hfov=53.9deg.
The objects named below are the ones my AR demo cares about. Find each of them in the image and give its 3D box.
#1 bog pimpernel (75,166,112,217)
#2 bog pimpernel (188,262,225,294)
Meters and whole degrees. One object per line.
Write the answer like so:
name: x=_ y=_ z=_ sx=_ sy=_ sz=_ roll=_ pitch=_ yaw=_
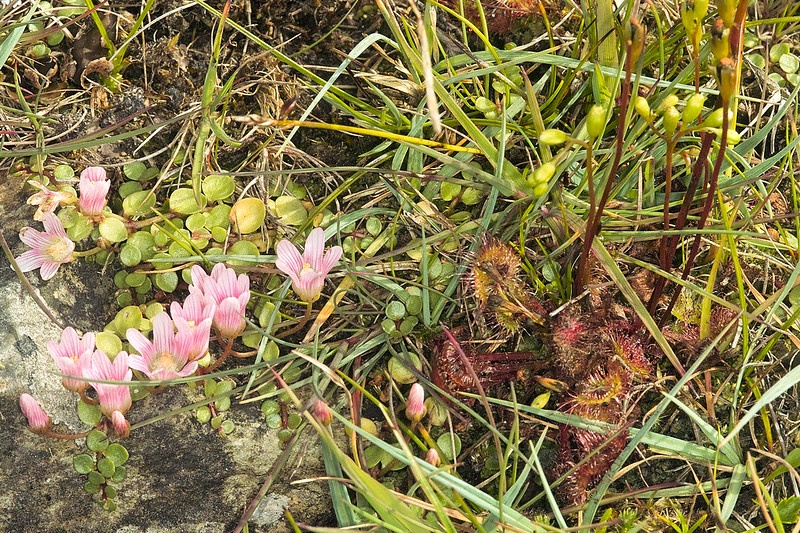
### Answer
bog pimpernel: x=-1.536 y=-0.354 z=3.951 sx=0.137 sy=0.129 sz=0.203 roll=2 pitch=83 yaw=-13
bog pimpernel: x=-0.944 y=0.053 z=3.793 sx=0.144 sy=0.077 sz=0.142 roll=19 pitch=64 yaw=-16
